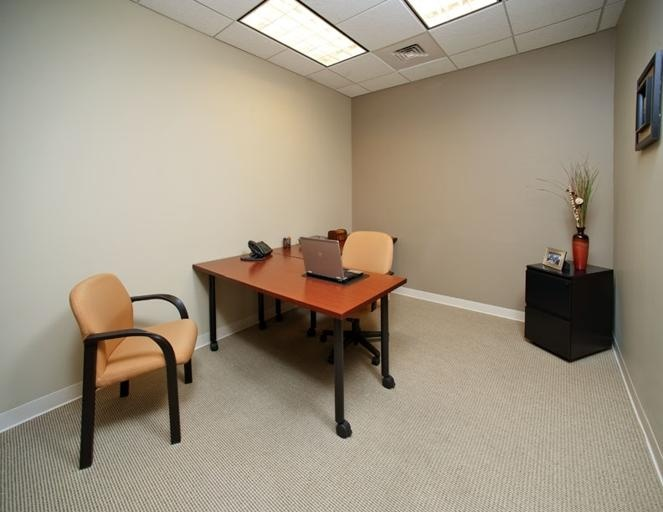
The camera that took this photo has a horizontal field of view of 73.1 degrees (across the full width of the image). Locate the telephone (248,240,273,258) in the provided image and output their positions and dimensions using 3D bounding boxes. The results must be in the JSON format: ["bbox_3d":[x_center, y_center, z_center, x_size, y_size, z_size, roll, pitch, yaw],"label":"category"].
[{"bbox_3d":[-0.743,-0.086,4.502,0.153,0.095,0.189,-15,23,-41],"label":"telephone"}]

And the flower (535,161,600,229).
[{"bbox_3d":[2.330,-0.564,4.324,0.301,0.622,0.509,-1,14,-1],"label":"flower"}]

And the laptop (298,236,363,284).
[{"bbox_3d":[0.001,-0.030,3.795,0.416,0.381,0.469,-18,20,-37],"label":"laptop"}]

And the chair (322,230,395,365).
[{"bbox_3d":[0.233,0.314,4.051,0.507,1.124,0.634,7,6,21],"label":"chair"}]

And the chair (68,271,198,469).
[{"bbox_3d":[-1.453,0.771,3.447,0.744,1.327,1.000,0,13,-1],"label":"chair"}]

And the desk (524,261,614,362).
[{"bbox_3d":[2.170,0.459,4.135,0.642,0.822,0.657,5,16,42],"label":"desk"}]

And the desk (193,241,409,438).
[{"bbox_3d":[-0.199,0.553,4.237,1.915,1.014,1.451,10,16,39],"label":"desk"}]
